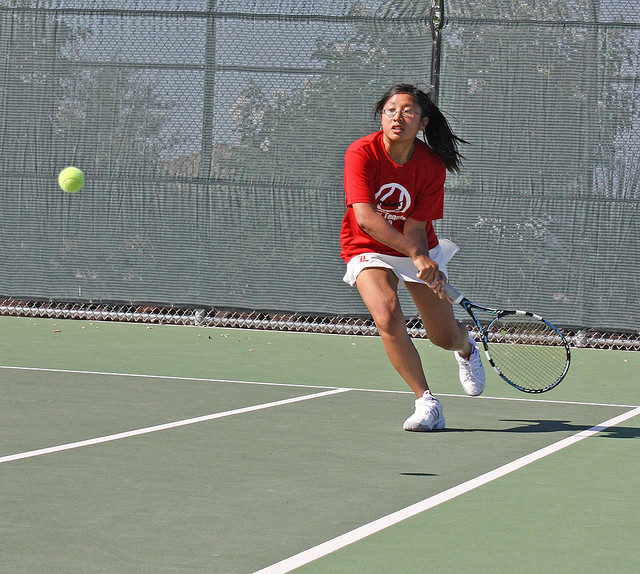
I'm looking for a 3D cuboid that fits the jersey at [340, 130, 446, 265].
[{"bbox_3d":[0.381,-0.450,5.035,0.541,0.654,0.461,-2,2,-4],"label":"jersey"}]

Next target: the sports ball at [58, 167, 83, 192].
[{"bbox_3d":[-1.970,-0.851,8.093,0.231,0.173,0.194,-2,-20,-11],"label":"sports ball"}]
